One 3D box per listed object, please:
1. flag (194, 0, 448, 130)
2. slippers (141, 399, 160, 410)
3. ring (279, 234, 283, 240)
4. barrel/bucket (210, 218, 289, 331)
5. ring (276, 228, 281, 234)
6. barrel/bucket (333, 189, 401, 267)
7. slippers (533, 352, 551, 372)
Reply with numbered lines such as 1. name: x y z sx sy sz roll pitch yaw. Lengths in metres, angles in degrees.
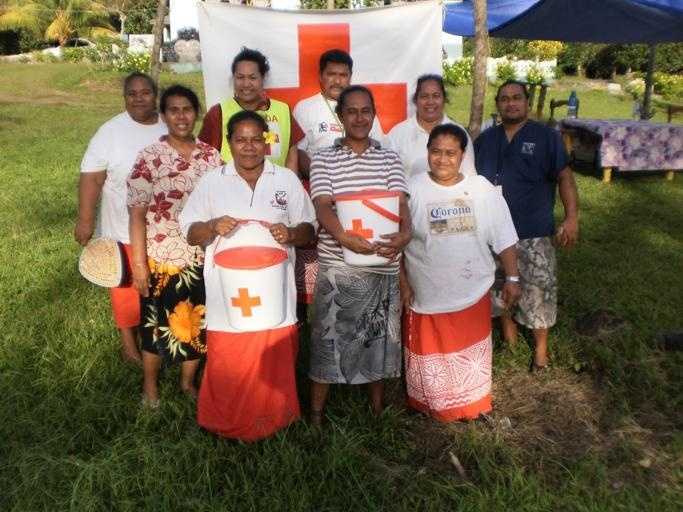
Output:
1. flag: -0.183 -1.716 4.911 2.308 1.826 0.185 -2 22 -5
2. slippers: -1.427 1.090 4.087 0.082 0.069 0.097 0 -4 40
3. ring: -0.382 -0.120 3.423 0.034 0.038 0.009 1 2 7
4. barrel/bucket: -0.571 0.120 3.476 0.460 0.636 0.330 -2 19 0
5. ring: -0.396 -0.154 3.410 0.020 0.030 0.009 0 13 3
6. barrel/bucket: 0.180 -0.214 3.628 0.408 0.477 0.475 -1 9 5
7. slippers: 1.699 0.891 4.687 0.099 0.199 0.081 7 15 27
